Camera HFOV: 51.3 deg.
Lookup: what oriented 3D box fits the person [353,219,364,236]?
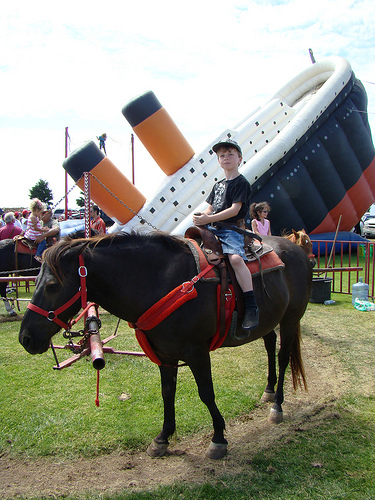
[{"bbox_3d":[7.843,-1.025,18.097,0.342,0.702,1.684,1,5,22],"label":"person"}]

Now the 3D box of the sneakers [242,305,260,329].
[{"bbox_3d":[0.441,0.455,2.647,0.079,0.176,0.074,2,-4,-1],"label":"sneakers"}]

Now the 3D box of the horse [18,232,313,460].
[{"bbox_3d":[0.104,0.664,2.911,2.436,1.495,0.682,-4,1,-33],"label":"horse"}]

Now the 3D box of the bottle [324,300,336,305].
[{"bbox_3d":[2.719,0.996,7.475,0.143,0.041,0.096,-2,1,-29],"label":"bottle"}]
